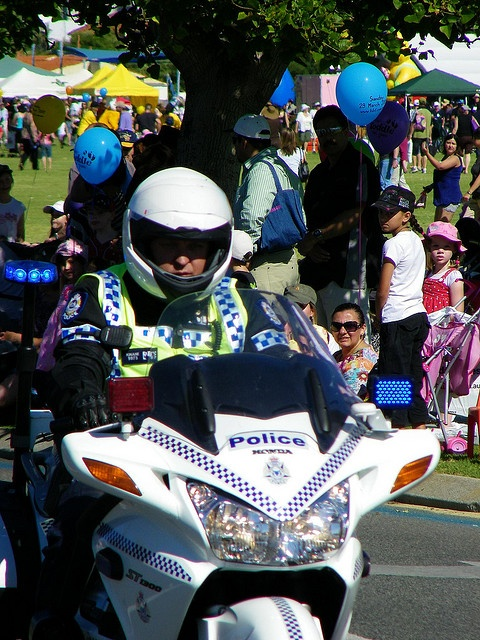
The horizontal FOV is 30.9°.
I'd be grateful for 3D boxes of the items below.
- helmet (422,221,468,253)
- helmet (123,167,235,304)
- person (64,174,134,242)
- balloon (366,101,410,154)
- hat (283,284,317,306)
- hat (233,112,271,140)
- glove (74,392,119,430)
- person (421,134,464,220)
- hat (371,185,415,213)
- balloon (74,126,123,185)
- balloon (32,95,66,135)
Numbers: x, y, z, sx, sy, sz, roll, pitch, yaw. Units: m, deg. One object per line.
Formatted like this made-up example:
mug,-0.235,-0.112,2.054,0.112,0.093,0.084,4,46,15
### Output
helmet,1.654,-0.709,7.116,0.226,0.168,0.301,19,-10,5
helmet,-0.256,-0.284,2.861,0.329,0.358,0.434,2,28,-12
person,-1.272,-0.936,7.219,0.554,0.701,0.729,1,9,6
balloon,1.586,-2.036,9.200,0.423,0.499,0.437,2,-2,-43
hat,0.426,-0.173,6.031,0.196,0.109,0.298,12,-1,17
hat,0.086,-1.553,6.968,0.268,0.139,0.199,14,16,32
glove,-0.416,0.258,2.460,0.093,0.056,0.123,4,-3,-13
person,3.122,-2.208,13.381,0.527,1.472,1.959,1,3,13
hat,1.117,-0.867,6.313,0.270,0.140,0.189,8,6,-36
balloon,-1.144,-1.381,7.330,0.438,0.546,0.462,0,-1,0
balloon,-1.931,-2.112,8.845,0.317,0.405,0.412,0,3,-12
